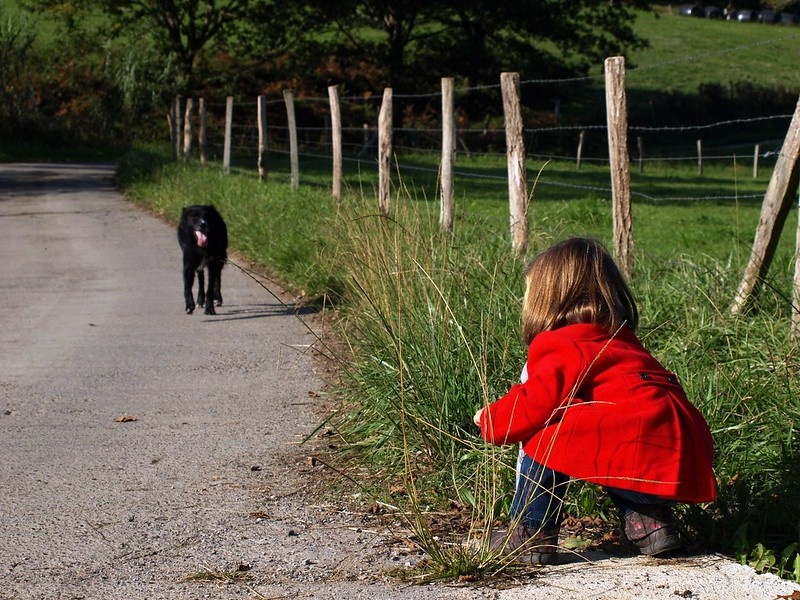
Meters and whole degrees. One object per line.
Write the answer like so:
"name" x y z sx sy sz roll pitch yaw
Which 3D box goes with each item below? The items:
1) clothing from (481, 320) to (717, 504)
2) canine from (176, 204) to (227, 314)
"clothing" 1.265 0.677 7.850 1.591 1.420 1.304 4 4 25
"canine" -2.053 -0.445 12.143 0.489 1.084 0.813 0 11 -11
